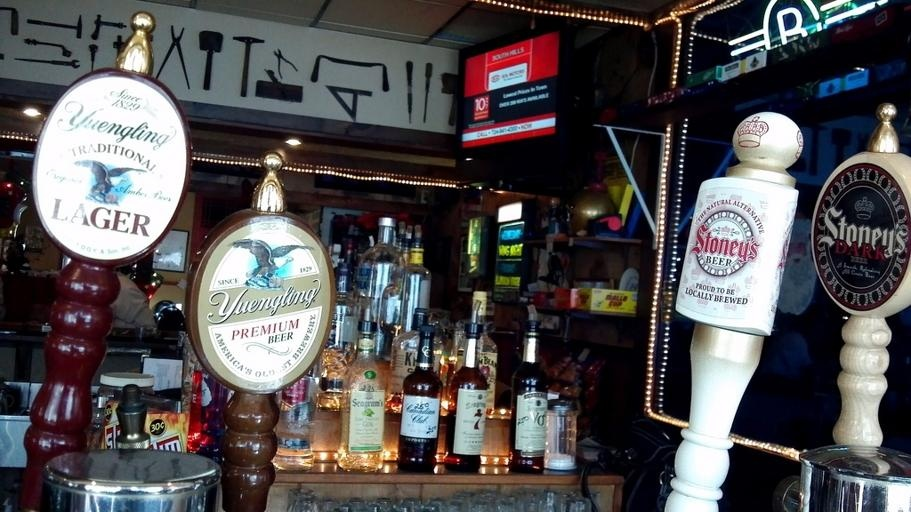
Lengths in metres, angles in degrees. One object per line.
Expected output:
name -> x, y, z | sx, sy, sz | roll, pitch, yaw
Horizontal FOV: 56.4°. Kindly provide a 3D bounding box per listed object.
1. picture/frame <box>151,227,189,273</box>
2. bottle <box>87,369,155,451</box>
picture/frame -> -3.340, -0.054, 10.006 | 0.384, 0.489, 0.340 | 4, -8, -18
bottle -> -1.255, 0.580, 3.196 | 0.201, 0.259, 0.324 | 4, -7, -20
